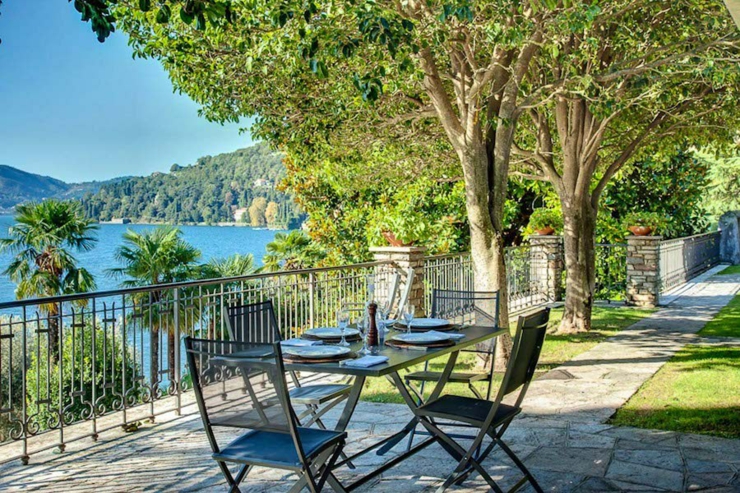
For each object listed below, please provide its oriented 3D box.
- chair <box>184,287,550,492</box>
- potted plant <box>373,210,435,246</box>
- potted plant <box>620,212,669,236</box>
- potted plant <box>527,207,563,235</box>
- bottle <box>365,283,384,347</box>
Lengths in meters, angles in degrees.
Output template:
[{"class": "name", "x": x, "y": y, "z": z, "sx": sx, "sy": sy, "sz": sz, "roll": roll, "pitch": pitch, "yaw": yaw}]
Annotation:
[{"class": "chair", "x": 0.055, "y": 1.520, "z": 6.191, "sx": 3.464, "sy": 1.891, "sz": 1.584, "roll": -3, "pitch": -5, "yaw": -17}, {"class": "potted plant", "x": 0.884, "y": -0.565, "z": 19.964, "sx": 2.255, "sy": 1.018, "sz": 2.292, "roll": -6, "pitch": -5, "yaw": 19}, {"class": "potted plant", "x": 6.927, "y": -0.572, "z": 16.161, "sx": 1.001, "sy": 0.575, "sz": 0.986, "roll": -3, "pitch": -4, "yaw": 34}, {"class": "potted plant", "x": 4.728, "y": -0.642, "z": 17.181, "sx": 0.861, "sy": 0.635, "sz": 0.805, "roll": -2, "pitch": 0, "yaw": 17}, {"class": "bottle", "x": -0.004, "y": 0.669, "z": 6.380, "sx": 0.232, "sy": 0.658, "sz": 0.236, "roll": -4, "pitch": -4, "yaw": 0}]
